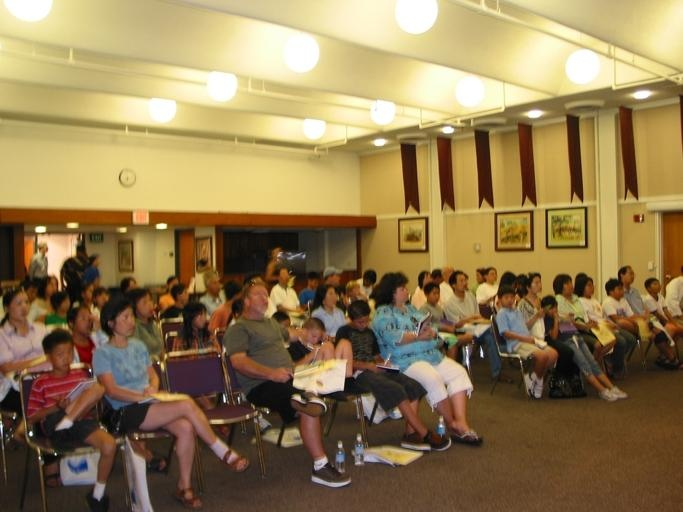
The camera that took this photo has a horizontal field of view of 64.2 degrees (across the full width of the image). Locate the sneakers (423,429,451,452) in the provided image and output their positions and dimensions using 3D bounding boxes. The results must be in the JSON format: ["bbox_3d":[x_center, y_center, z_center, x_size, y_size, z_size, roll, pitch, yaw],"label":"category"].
[{"bbox_3d":[0.941,1.762,5.229,0.278,0.161,0.130,-3,1,-13],"label":"sneakers"}]

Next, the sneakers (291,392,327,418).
[{"bbox_3d":[-0.266,1.214,4.538,0.316,0.156,0.142,20,30,28],"label":"sneakers"}]

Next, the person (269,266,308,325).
[{"bbox_3d":[-0.864,0.782,8.988,0.508,1.169,0.570,-12,19,-21],"label":"person"}]

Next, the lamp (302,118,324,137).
[{"bbox_3d":[-0.506,-2.449,10.421,0.389,0.213,0.471,-2,2,-7],"label":"lamp"}]

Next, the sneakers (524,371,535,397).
[{"bbox_3d":[2.345,1.576,6.763,0.113,0.324,0.099,-3,9,20],"label":"sneakers"}]

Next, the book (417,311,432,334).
[{"bbox_3d":[0.833,0.671,5.488,0.043,0.185,0.171,22,29,17],"label":"book"}]

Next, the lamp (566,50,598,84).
[{"bbox_3d":[3.330,-2.632,7.476,0.392,0.432,0.225,-2,1,-13],"label":"lamp"}]

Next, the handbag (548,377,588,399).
[{"bbox_3d":[2.790,1.633,6.762,0.252,0.140,0.344,0,0,-23],"label":"handbag"}]

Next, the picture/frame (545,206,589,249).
[{"bbox_3d":[4.864,-0.632,11.639,0.080,0.919,0.795,3,-2,-44],"label":"picture/frame"}]

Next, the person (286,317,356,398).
[{"bbox_3d":[-0.216,0.967,5.206,0.475,0.847,0.691,7,-20,-43],"label":"person"}]

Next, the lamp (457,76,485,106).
[{"bbox_3d":[1.913,-2.497,8.121,0.378,0.452,0.290,-2,1,5],"label":"lamp"}]

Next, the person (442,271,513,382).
[{"bbox_3d":[1.942,1.004,7.839,0.544,1.648,0.829,-7,-4,-31],"label":"person"}]

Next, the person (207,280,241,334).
[{"bbox_3d":[-1.410,0.605,6.512,0.235,0.775,0.337,12,2,-36],"label":"person"}]

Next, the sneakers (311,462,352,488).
[{"bbox_3d":[-0.097,1.812,4.559,0.259,0.147,0.157,1,-4,14],"label":"sneakers"}]

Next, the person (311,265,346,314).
[{"bbox_3d":[-0.178,0.443,8.166,0.427,0.898,0.442,-1,7,-3],"label":"person"}]

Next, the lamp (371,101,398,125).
[{"bbox_3d":[0.709,-2.475,9.216,0.380,0.365,0.394,-2,1,-2],"label":"lamp"}]

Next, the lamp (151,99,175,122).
[{"bbox_3d":[-2.855,-2.345,8.740,0.362,0.297,0.377,-3,1,-16],"label":"lamp"}]

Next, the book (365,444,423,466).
[{"bbox_3d":[0.484,1.825,5.035,0.521,0.068,0.328,-2,2,14],"label":"book"}]

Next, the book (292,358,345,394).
[{"bbox_3d":[-0.157,1.037,4.738,0.303,0.158,0.336,0,7,6],"label":"book"}]

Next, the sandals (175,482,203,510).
[{"bbox_3d":[-1.200,1.877,4.293,0.221,0.110,0.113,5,4,40],"label":"sandals"}]

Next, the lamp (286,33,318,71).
[{"bbox_3d":[-0.497,-2.569,6.897,0.373,0.523,0.410,1,0,17],"label":"lamp"}]

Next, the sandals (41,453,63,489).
[{"bbox_3d":[-2.464,1.766,4.591,0.195,0.269,0.103,9,6,-29],"label":"sandals"}]

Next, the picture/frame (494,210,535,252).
[{"bbox_3d":[3.987,-0.591,12.415,0.065,0.979,0.835,1,-1,-43],"label":"picture/frame"}]

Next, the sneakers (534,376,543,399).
[{"bbox_3d":[2.450,1.612,6.720,0.093,0.342,0.133,2,-20,12],"label":"sneakers"}]

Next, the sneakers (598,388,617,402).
[{"bbox_3d":[3.257,1.686,6.643,0.173,0.109,0.193,-3,2,-40],"label":"sneakers"}]

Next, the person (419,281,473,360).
[{"bbox_3d":[1.475,1.005,7.672,0.480,1.310,0.684,-11,7,-41],"label":"person"}]

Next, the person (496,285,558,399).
[{"bbox_3d":[2.352,1.058,6.890,0.491,1.396,0.745,-2,1,-28],"label":"person"}]

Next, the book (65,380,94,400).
[{"bbox_3d":[-2.017,1.026,4.189,0.215,0.136,0.088,-2,1,-8],"label":"book"}]

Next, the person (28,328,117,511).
[{"bbox_3d":[-2.095,1.258,4.204,0.526,1.320,0.749,-3,2,-37],"label":"person"}]

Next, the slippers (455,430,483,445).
[{"bbox_3d":[1.260,1.789,5.377,0.237,0.112,0.124,-1,7,35],"label":"slippers"}]

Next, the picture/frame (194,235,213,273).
[{"bbox_3d":[-3.356,-0.083,13.337,0.108,1.210,0.778,-4,6,-40],"label":"picture/frame"}]

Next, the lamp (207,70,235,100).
[{"bbox_3d":[-1.680,-2.403,7.620,0.342,0.286,0.360,30,41,21],"label":"lamp"}]

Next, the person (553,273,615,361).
[{"bbox_3d":[3.359,0.926,7.436,0.552,1.451,0.687,-11,-2,-38],"label":"person"}]

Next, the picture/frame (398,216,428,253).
[{"bbox_3d":[1.912,-0.576,14.221,0.061,0.960,0.816,1,-2,-44],"label":"picture/frame"}]

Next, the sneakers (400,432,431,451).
[{"bbox_3d":[0.710,1.761,5.224,0.249,0.138,0.120,-1,-4,33],"label":"sneakers"}]

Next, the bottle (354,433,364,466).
[{"bbox_3d":[0.165,1.746,4.979,0.106,0.266,0.170,-2,1,1],"label":"bottle"}]

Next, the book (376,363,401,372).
[{"bbox_3d":[0.459,1.086,5.335,0.304,0.035,0.233,12,-6,-27],"label":"book"}]

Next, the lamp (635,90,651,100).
[{"bbox_3d":[5.502,-2.964,9.944,0.168,0.047,0.176,-5,-8,36],"label":"lamp"}]

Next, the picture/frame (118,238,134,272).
[{"bbox_3d":[-6.658,-0.071,16.873,0.051,1.077,0.923,0,-1,-38],"label":"picture/frame"}]
